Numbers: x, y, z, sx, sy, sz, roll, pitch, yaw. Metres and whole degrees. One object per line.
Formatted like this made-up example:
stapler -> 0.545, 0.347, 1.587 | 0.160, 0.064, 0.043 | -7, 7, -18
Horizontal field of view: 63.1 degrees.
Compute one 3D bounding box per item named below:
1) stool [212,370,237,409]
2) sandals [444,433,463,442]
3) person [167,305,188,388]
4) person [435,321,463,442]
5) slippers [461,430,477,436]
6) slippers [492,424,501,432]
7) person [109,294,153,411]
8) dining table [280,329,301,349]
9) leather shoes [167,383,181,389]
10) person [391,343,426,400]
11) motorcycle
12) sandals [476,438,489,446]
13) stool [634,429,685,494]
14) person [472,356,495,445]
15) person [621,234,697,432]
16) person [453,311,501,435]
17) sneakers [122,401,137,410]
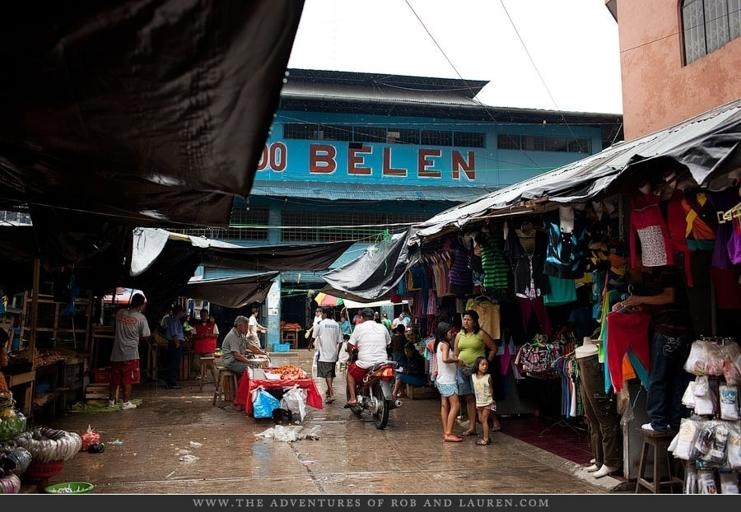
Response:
stool -> -3.004, 2.672, 12.353 | 0.477, 0.704, 0.878 | 3, -4, -29
sandals -> 1.263, 2.740, 9.074 | 0.320, 0.118, 0.169 | 2, -4, -25
person -> -4.878, 2.251, 15.119 | 0.395, 1.972, 1.241 | 2, -4, -18
person -> 1.236, 1.971, 9.612 | 0.397, 1.754, 1.132 | 0, -4, 6
slippers -> 1.538, 2.800, 9.495 | 0.233, 0.092, 0.084 | 5, -6, -4
slippers -> 2.014, 2.792, 9.742 | 0.066, 0.137, 0.192 | -1, -7, -1
person -> -4.643, 1.836, 11.700 | 0.651, 2.169, 0.936 | 2, -4, -23
dining table -> -3.541, 3.785, 27.229 | 0.881, 0.847, 0.883 | 0, -2, 3
leather shoes -> -4.731, 3.184, 14.640 | 0.329, 0.129, 0.110 | 0, -3, 5
person -> 0.843, 2.482, 12.980 | 0.826, 1.201, 0.480 | -4, 11, 21
motorcycle -> 0.068, 2.351, 10.414 | 0.450, 1.107, 1.324 | 2, -4, -20
sandals -> 1.658, 2.756, 8.942 | 0.212, 0.074, 0.253 | 0, -4, 10
stool -> 3.207, 2.322, 6.792 | 0.486, 0.736, 0.578 | -1, -4, 27
person -> 1.713, 2.185, 9.254 | 0.296, 1.272, 0.841 | 0, -4, 9
person -> 3.247, 0.947, 6.855 | 0.635, 2.032, 0.568 | -2, -4, 36
person -> 1.636, 1.799, 9.419 | 0.689, 1.856, 0.626 | -2, -4, 4
sneakers -> -4.552, 2.873, 11.528 | 0.282, 0.122, 0.097 | 1, 4, -6
